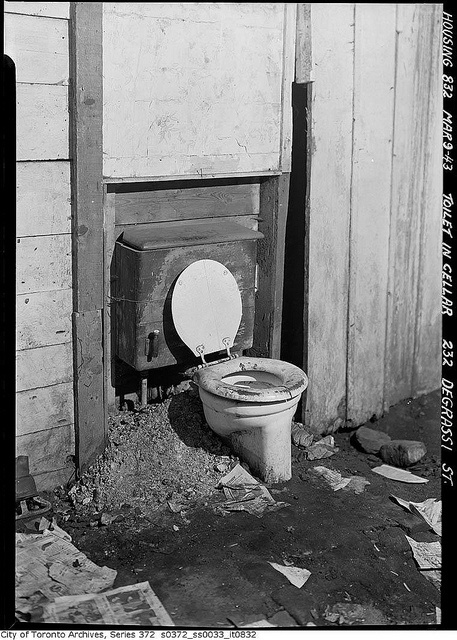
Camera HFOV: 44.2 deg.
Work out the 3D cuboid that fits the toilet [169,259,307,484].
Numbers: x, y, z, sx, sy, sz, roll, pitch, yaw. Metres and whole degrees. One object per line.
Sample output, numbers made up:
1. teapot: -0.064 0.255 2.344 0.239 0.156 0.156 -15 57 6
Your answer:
1. toilet: 0.048 0.185 2.442 0.372 0.941 0.482 -14 14 -37
